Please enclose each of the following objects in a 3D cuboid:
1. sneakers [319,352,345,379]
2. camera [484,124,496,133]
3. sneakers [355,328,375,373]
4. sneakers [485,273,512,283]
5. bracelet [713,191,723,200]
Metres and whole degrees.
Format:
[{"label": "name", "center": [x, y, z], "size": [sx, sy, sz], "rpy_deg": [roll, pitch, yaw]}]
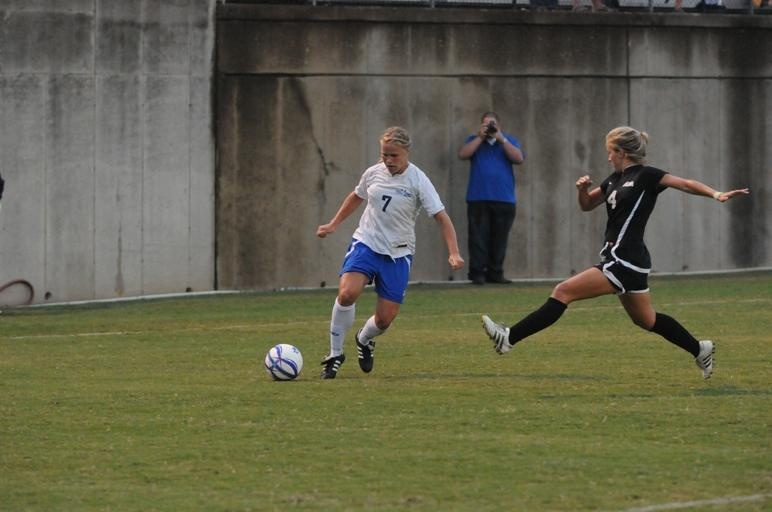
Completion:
[{"label": "sneakers", "center": [-0.643, 1.290, 17.843], "size": [0.266, 0.276, 0.354], "rpy_deg": [0, 2, -2]}, {"label": "camera", "center": [1.598, -1.975, 23.243], "size": [0.142, 0.131, 0.142], "rpy_deg": [-3, 15, -7]}, {"label": "sneakers", "center": [-0.237, 1.126, 17.995], "size": [0.175, 0.480, 0.229], "rpy_deg": [-8, 1, -39]}, {"label": "sneakers", "center": [1.767, 0.337, 23.885], "size": [0.418, 0.261, 0.144], "rpy_deg": [-2, 5, -1]}, {"label": "bracelet", "center": [3.650, -0.670, 16.696], "size": [0.102, 0.047, 0.125], "rpy_deg": [-1, -2, 7]}]
